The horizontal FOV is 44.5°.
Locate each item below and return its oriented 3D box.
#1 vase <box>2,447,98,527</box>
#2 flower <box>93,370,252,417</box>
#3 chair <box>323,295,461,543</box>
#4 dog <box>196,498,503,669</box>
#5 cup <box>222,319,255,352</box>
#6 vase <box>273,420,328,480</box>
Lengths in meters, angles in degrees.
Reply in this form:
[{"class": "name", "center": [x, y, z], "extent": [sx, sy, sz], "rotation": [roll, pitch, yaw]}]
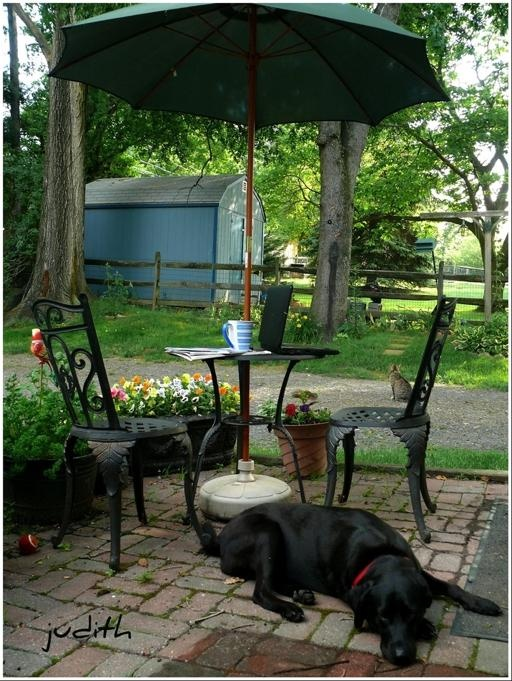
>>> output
[{"class": "vase", "center": [-1.128, 0.811, 3.527], "extent": [0.459, 0.269, 0.481], "rotation": [0, -5, 1]}, {"class": "flower", "center": [-0.660, 0.425, 4.695], "extent": [0.600, 0.237, 0.511], "rotation": [-1, 1, 21]}, {"class": "chair", "center": [0.739, 0.420, 3.612], "extent": [0.800, 1.145, 0.666], "rotation": [-3, -2, 25]}, {"class": "dog", "center": [0.324, 0.934, 2.683], "extent": [0.796, 0.387, 1.225], "rotation": [2, 5, -43]}, {"class": "cup", "center": [-0.090, -0.032, 3.631], "extent": [0.221, 0.166, 0.138], "rotation": [-2, 6, -32]}, {"class": "vase", "center": [0.357, 0.761, 4.406], "extent": [0.489, 0.303, 0.450], "rotation": [-3, 2, 9]}]
